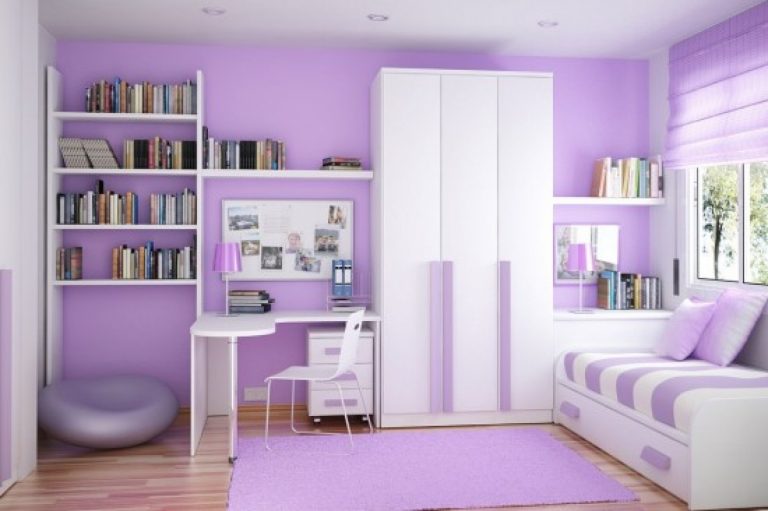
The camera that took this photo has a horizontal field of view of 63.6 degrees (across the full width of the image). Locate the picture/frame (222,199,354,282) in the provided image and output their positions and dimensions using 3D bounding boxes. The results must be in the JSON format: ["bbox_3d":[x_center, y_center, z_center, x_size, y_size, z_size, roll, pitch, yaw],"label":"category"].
[{"bbox_3d":[-0.891,-0.155,5.875,1.348,0.766,0.024,0,2,-37],"label":"picture/frame"}]

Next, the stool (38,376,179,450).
[{"bbox_3d":[-2.380,1.372,5.412,1.290,0.470,1.188,-1,-15,0],"label":"stool"}]

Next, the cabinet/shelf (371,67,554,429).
[{"bbox_3d":[0.620,-0.039,5.873,1.773,3.029,0.844,-5,9,-25],"label":"cabinet/shelf"}]

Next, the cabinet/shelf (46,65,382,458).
[{"bbox_3d":[-1.644,0.056,5.553,3.575,3.852,1.060,0,-3,-12],"label":"cabinet/shelf"}]

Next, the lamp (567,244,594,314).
[{"bbox_3d":[1.855,0.209,5.883,0.223,0.657,0.529,2,9,16],"label":"lamp"}]

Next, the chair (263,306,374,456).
[{"bbox_3d":[-0.520,1.009,5.106,0.926,1.064,0.766,-1,-3,21],"label":"chair"}]

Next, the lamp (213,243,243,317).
[{"bbox_3d":[-1.396,0.206,5.529,0.222,0.674,0.474,-3,9,-15],"label":"lamp"}]
